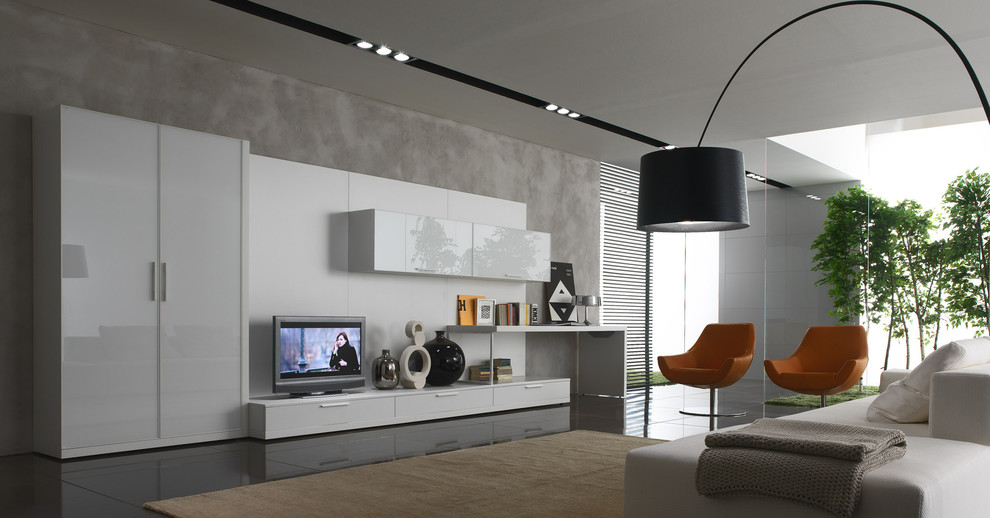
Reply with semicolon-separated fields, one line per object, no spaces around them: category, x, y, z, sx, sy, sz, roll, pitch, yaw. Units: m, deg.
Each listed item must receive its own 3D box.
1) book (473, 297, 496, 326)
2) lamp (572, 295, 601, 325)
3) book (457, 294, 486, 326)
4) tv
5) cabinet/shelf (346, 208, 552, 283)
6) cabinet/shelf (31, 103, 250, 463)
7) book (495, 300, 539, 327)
book;-0.165;0.750;9.108;0.436;0.491;0.094;5;-10;-41
lamp;1.493;0.822;10.424;0.554;0.481;0.495;-1;-2;-11
book;-0.345;0.720;9.027;0.513;0.405;0.159;3;-6;-40
tv;-2.113;1.152;7.572;1.140;0.776;0.230;3;-8;-39
cabinet/shelf;-0.590;-0.168;8.646;2.676;0.889;0.355;0;3;-31
cabinet/shelf;-3.575;0.224;6.856;1.763;3.555;0.549;1;3;-18
book;0.345;0.789;9.221;0.657;0.310;0.426;1;2;-14
